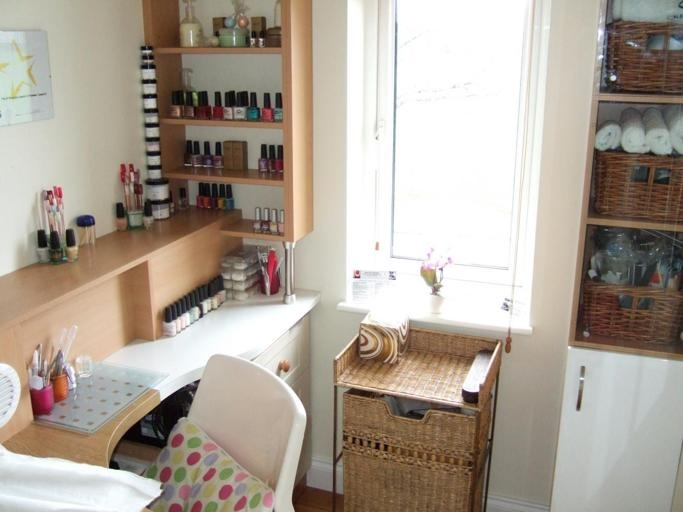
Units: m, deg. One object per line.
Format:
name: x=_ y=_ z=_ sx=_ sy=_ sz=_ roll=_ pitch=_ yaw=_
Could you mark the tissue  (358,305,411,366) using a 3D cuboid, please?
tissue : x=0.190 y=0.367 z=2.437 sx=0.211 sy=0.214 sz=0.223 roll=3 pitch=22 yaw=10
